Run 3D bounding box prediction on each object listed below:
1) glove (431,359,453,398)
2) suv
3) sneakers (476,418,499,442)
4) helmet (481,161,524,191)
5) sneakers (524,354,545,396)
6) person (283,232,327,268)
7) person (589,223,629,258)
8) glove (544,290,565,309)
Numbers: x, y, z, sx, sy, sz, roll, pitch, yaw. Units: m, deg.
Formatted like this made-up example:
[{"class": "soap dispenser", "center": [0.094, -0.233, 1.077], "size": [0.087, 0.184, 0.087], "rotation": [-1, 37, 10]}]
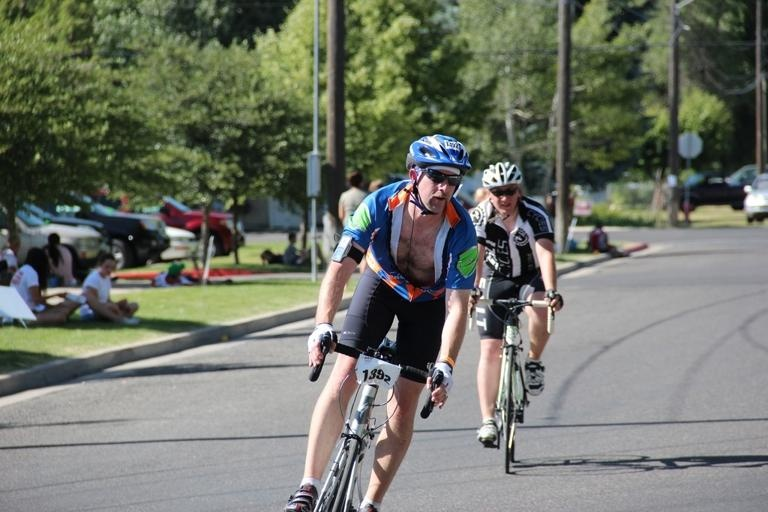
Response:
[{"class": "glove", "center": [0.753, 1.493, 16.818], "size": [0.145, 0.339, 0.346], "rotation": [6, -15, 23]}, {"class": "suv", "center": [-6.451, -0.644, 35.235], "size": [4.261, 1.789, 2.075], "rotation": [3, -1, -9]}, {"class": "sneakers", "center": [1.459, 2.446, 18.789], "size": [0.284, 0.340, 0.208], "rotation": [-3, 3, 5]}, {"class": "helmet", "center": [1.671, -1.162, 19.073], "size": [0.535, 0.380, 0.462], "rotation": [-3, 3, 3]}, {"class": "sneakers", "center": [2.188, 1.688, 19.437], "size": [0.195, 0.616, 0.264], "rotation": [-1, 4, 7]}, {"class": "person", "center": [-2.055, -0.136, 35.624], "size": [1.643, 1.183, 0.621], "rotation": [0, 2, 26]}, {"class": "person", "center": [6.181, -0.484, 37.099], "size": [0.908, 0.920, 1.355], "rotation": [-3, 3, 6]}, {"class": "glove", "center": [2.415, 0.587, 18.779], "size": [0.111, 0.266, 0.201], "rotation": [-43, -2, 5]}]
